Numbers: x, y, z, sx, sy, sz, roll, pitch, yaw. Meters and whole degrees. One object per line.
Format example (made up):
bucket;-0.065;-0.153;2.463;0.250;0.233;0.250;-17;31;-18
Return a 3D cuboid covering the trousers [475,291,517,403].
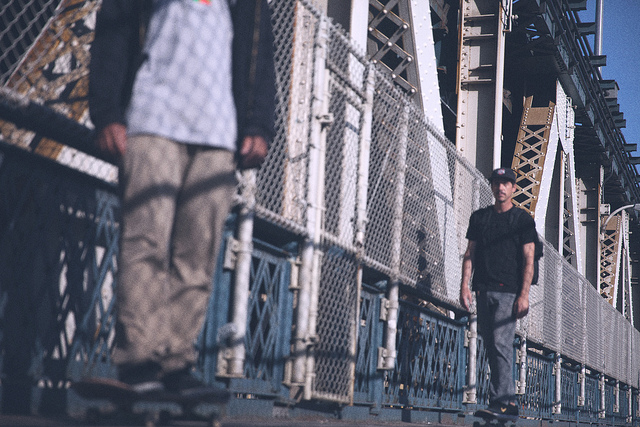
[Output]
trousers;2.884;2.177;31.029;0.680;1.764;0.677;-5;-25;20
